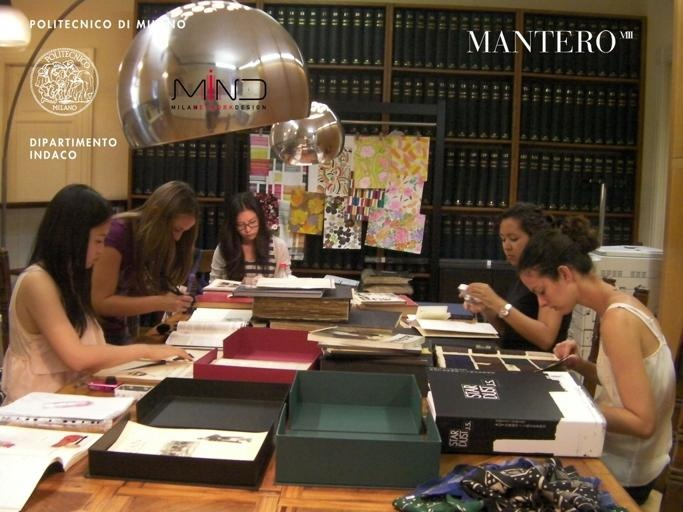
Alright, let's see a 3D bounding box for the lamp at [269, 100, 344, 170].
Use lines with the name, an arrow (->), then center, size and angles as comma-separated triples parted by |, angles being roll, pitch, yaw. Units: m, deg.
lamp -> -0.175, -0.675, 2.916 | 0.419, 0.293, 0.422 | 20, 29, 33
